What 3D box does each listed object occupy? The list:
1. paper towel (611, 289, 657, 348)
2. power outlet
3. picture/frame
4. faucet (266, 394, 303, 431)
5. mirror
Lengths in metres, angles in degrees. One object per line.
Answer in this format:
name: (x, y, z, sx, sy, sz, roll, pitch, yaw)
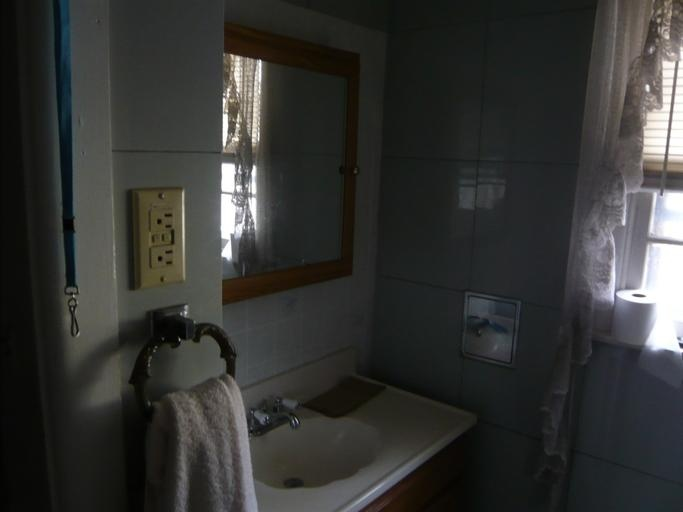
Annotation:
paper towel: (0.893, 0.190, 1.581, 0.101, 0.166, 0.092, 14, 19, 34)
power outlet: (-0.395, -0.042, 1.128, 0.017, 0.217, 0.119, 15, 18, 40)
picture/frame: (0.542, 0.249, 1.835, 0.221, 0.305, 0.023, 8, 10, 34)
faucet: (-0.181, 0.500, 1.670, 0.093, 0.105, 0.036, 7, 19, 35)
mirror: (-0.149, -0.297, 1.717, 0.061, 0.815, 0.607, 8, 13, 40)
